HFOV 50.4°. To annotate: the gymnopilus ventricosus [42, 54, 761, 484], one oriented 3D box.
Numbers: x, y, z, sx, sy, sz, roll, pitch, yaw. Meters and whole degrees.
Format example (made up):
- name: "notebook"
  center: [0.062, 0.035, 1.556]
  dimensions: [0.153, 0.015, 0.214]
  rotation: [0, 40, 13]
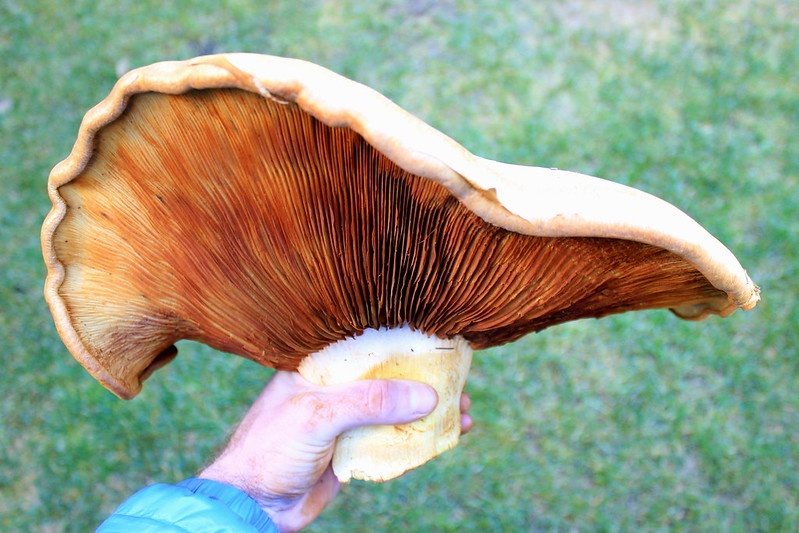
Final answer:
- name: "gymnopilus ventricosus"
  center: [-0.251, 0.081, 3.603]
  dimensions: [2.516, 1.176, 1.416]
  rotation: [17, 78, 2]
